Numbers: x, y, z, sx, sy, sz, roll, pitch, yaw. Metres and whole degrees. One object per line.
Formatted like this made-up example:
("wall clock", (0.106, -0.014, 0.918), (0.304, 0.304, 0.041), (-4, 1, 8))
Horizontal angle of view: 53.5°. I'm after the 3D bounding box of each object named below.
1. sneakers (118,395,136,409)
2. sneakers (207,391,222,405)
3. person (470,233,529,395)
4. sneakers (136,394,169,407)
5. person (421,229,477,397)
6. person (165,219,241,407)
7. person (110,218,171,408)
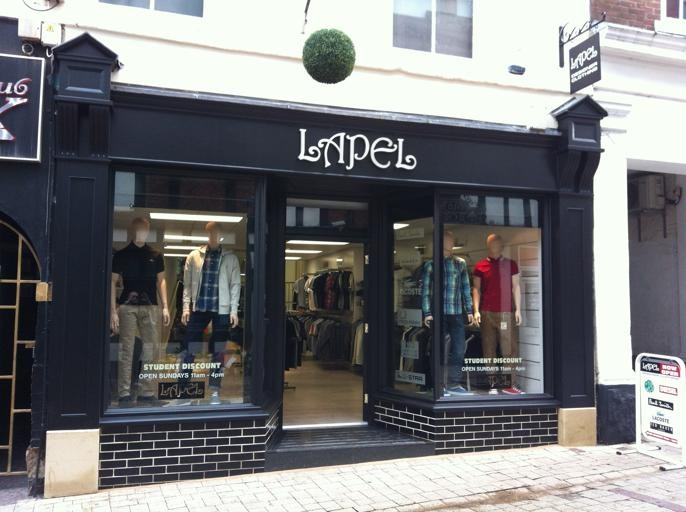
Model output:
("sneakers", (-2.419, 1.630, 7.616), (0.185, 0.110, 0.065), (-5, 15, -17))
("sneakers", (-1.486, 1.638, 7.844), (0.137, 0.127, 0.091), (-4, 15, -13))
("person", (2.022, 0.736, 8.913), (0.659, 1.923, 0.735), (3, 15, 11))
("sneakers", (-2.153, 1.633, 7.706), (0.340, 0.129, 0.077), (-3, 15, -12))
("person", (1.331, 0.720, 8.735), (0.700, 1.939, 0.707), (1, 14, 6))
("person", (-1.579, 0.654, 7.970), (0.648, 1.929, 0.787), (0, 14, 0))
("person", (-2.323, 0.621, 7.764), (0.615, 1.978, 0.701), (-5, 15, -17))
